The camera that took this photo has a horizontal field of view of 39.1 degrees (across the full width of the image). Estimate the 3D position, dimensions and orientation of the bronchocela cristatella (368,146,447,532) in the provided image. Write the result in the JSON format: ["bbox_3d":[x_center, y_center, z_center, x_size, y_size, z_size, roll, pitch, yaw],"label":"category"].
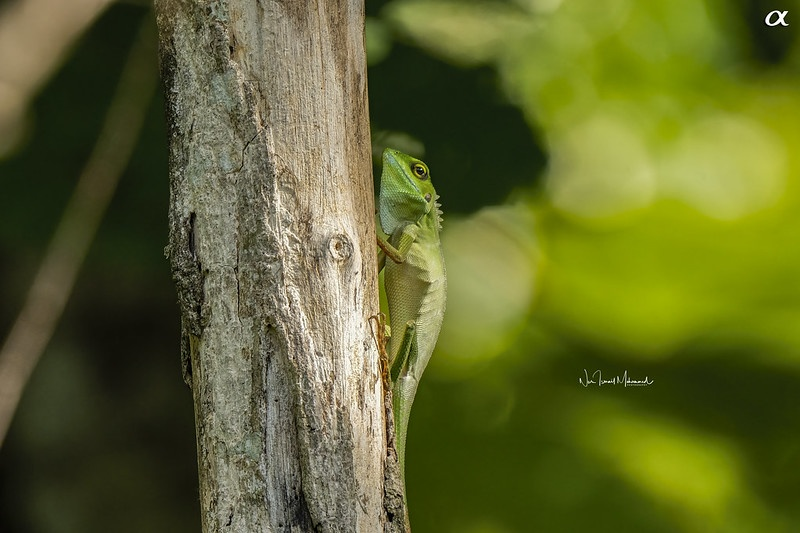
[{"bbox_3d":[0.057,0.192,3.808,0.335,0.286,1.130,0,93,9],"label":"bronchocela cristatella"}]
